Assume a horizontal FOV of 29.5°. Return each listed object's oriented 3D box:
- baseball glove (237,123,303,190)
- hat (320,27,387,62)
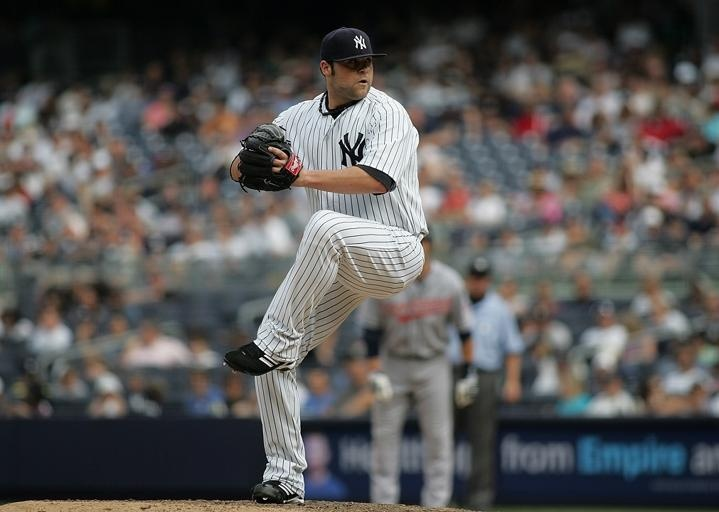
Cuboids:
[{"bbox_3d":[-0.847,-0.891,12.207,0.714,0.336,0.538,17,-4,-4],"label":"baseball glove"},{"bbox_3d":[-0.056,-1.891,12.164,0.416,0.320,0.657,-4,7,-44],"label":"hat"}]
